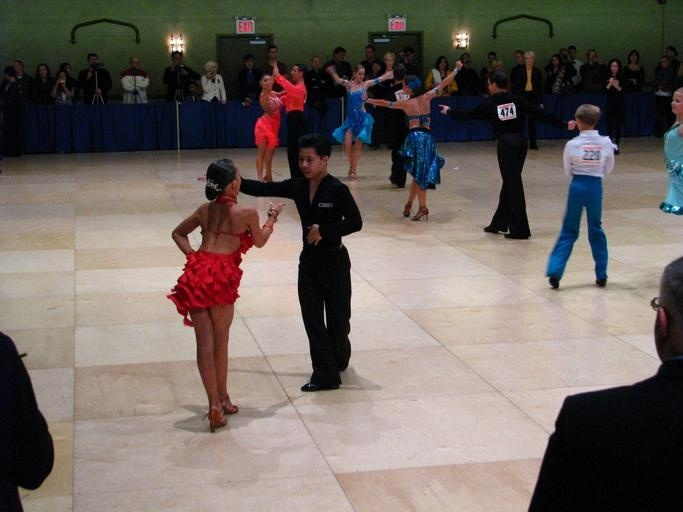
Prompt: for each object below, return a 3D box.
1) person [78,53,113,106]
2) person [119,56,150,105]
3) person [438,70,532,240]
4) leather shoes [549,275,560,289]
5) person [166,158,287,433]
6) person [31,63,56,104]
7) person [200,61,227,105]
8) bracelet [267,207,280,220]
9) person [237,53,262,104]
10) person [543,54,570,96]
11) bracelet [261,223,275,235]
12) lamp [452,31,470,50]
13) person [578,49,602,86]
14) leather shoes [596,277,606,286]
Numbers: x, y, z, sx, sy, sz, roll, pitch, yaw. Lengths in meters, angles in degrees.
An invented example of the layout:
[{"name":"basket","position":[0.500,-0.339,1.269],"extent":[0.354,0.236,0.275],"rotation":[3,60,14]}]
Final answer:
[{"name":"person","position":[-7.740,-5.500,18.417],"extent":[0.932,1.480,0.602],"rotation":[3,17,22]},{"name":"person","position":[-6.479,-5.533,18.629],"extent":[1.052,1.393,0.747],"rotation":[10,20,38]},{"name":"person","position":[2.400,-1.470,8.831],"extent":[0.918,2.441,0.515],"rotation":[2,16,16]},{"name":"leather shoes","position":[2.458,0.290,6.839],"extent":[0.077,0.141,0.086],"rotation":[-8,42,57]},{"name":"person","position":[-0.868,0.255,4.167],"extent":[0.641,1.813,0.548],"rotation":[-14,19,-36]},{"name":"person","position":[-8.977,-5.127,17.718],"extent":[0.729,1.166,0.487],"rotation":[-10,17,-25]},{"name":"person","position":[-4.148,-5.556,18.885],"extent":[0.750,1.360,2.078],"rotation":[-6,16,-12]},{"name":"bracelet","position":[-0.516,-0.331,4.389],"extent":[0.104,0.067,0.138],"rotation":[-2,-7,-4]},{"name":"person","position":[-2.929,-5.225,18.798],"extent":[0.742,2.115,0.727],"rotation":[-5,37,-19]},{"name":"person","position":[7.058,-5.883,19.216],"extent":[0.770,1.257,1.248],"rotation":[-2,15,4]},{"name":"bracelet","position":[-0.526,-0.197,4.227],"extent":[0.117,0.062,0.152],"rotation":[6,-2,-17]},{"name":"lamp","position":[4.285,-7.838,21.453],"extent":[0.625,0.630,0.150],"rotation":[-2,3,-4]},{"name":"person","position":[8.064,-5.976,19.113],"extent":[0.753,1.283,0.403],"rotation":[6,18,28]},{"name":"leather shoes","position":[3.033,0.294,6.933],"extent":[0.053,0.107,0.157],"rotation":[1,24,9]}]
